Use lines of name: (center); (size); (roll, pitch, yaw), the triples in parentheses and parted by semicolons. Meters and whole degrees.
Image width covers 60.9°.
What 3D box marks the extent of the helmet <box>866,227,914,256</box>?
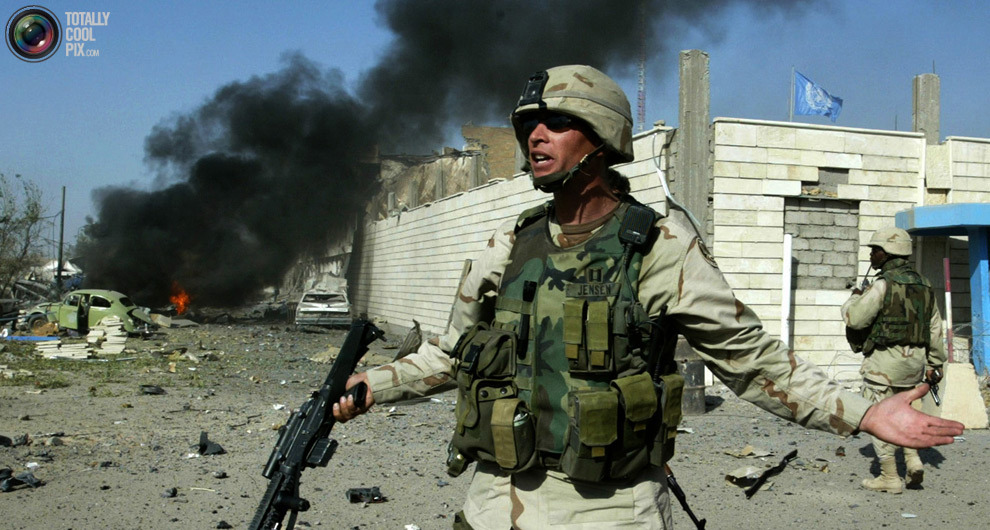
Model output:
helmet: (6.581, -0.380, 13.950); (0.614, 0.328, 0.459); (-1, 3, 3)

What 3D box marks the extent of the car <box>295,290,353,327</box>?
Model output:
car: (-5.694, 1.283, 27.989); (1.738, 1.048, 2.782); (0, 11, -15)

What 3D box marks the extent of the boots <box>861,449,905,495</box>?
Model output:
boots: (6.381, 3.382, 13.792); (0.373, 0.706, 0.781); (12, -18, -24)
